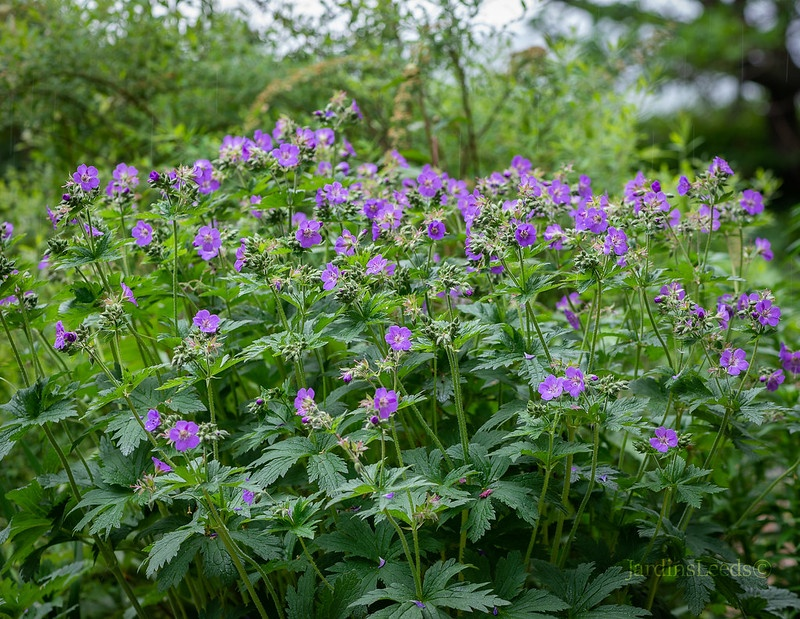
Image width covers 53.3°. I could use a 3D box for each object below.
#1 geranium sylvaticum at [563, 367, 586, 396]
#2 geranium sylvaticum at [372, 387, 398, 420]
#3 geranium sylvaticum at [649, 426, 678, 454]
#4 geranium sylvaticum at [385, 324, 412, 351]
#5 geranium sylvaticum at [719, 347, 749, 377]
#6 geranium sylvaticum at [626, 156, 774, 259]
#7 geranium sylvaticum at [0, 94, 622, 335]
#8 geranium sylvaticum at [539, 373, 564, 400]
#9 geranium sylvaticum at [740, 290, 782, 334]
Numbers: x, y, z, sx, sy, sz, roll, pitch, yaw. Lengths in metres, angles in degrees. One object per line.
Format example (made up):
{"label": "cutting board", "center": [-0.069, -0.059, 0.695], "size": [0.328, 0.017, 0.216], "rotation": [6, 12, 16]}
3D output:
{"label": "geranium sylvaticum", "center": [0.957, 0.379, 4.249], "size": [0.095, 0.176, 0.185], "rotation": [7, 11, 40]}
{"label": "geranium sylvaticum", "center": [-0.058, 0.484, 4.042], "size": [0.098, 0.170, 0.136], "rotation": [8, 12, 43]}
{"label": "geranium sylvaticum", "center": [1.502, 0.742, 4.527], "size": [0.146, 0.188, 0.231], "rotation": [2, 9, 19]}
{"label": "geranium sylvaticum", "center": [0.000, 0.160, 4.218], "size": [0.134, 0.133, 0.098], "rotation": [-1, 9, -2]}
{"label": "geranium sylvaticum", "center": [1.916, 0.275, 4.552], "size": [0.148, 0.167, 0.067], "rotation": [23, -18, 6]}
{"label": "geranium sylvaticum", "center": [1.911, -0.624, 5.049], "size": [0.626, 0.649, 1.164], "rotation": [8, 12, 43]}
{"label": "geranium sylvaticum", "center": [-0.605, -0.572, 4.953], "size": [3.610, 1.572, 1.484], "rotation": [0, 9, 1]}
{"label": "geranium sylvaticum", "center": [0.808, 0.420, 4.248], "size": [0.123, 0.144, 0.115], "rotation": [-1, 9, -3]}
{"label": "geranium sylvaticum", "center": [2.153, 0.021, 4.773], "size": [0.224, 0.284, 0.312], "rotation": [3, 9, 23]}
